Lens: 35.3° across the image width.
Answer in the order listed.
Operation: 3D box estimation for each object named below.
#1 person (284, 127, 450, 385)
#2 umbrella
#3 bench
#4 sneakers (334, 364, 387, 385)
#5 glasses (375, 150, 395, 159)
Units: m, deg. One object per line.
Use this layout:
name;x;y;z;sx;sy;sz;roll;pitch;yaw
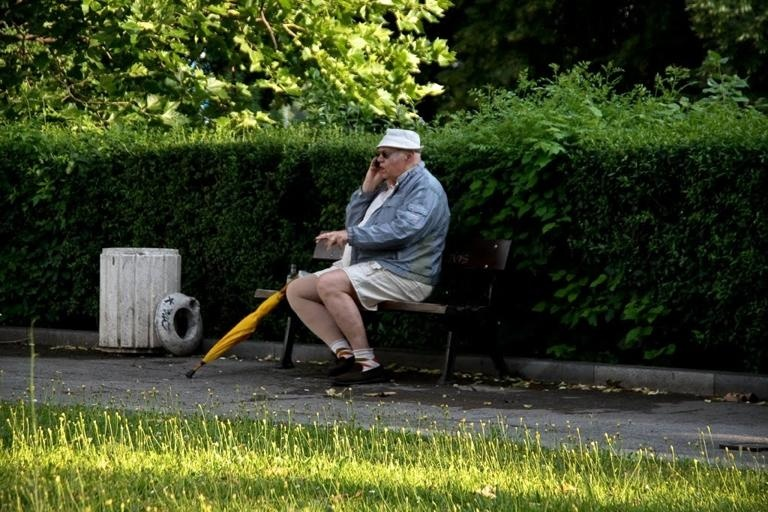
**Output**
person;-0.117;-0.043;12.836;1.234;2.653;1.136;-2;5;-44
umbrella;-1.729;0.909;14.173;1.219;0.221;0.212;-38;-21;-11
bench;0.062;0.647;12.618;1.668;0.774;0.728;11;6;-22
sneakers;-0.241;1.211;12.544;0.523;0.214;0.214;1;-3;-14
glasses;0.052;-1.094;12.885;0.129;0.065;0.124;-3;1;-26
